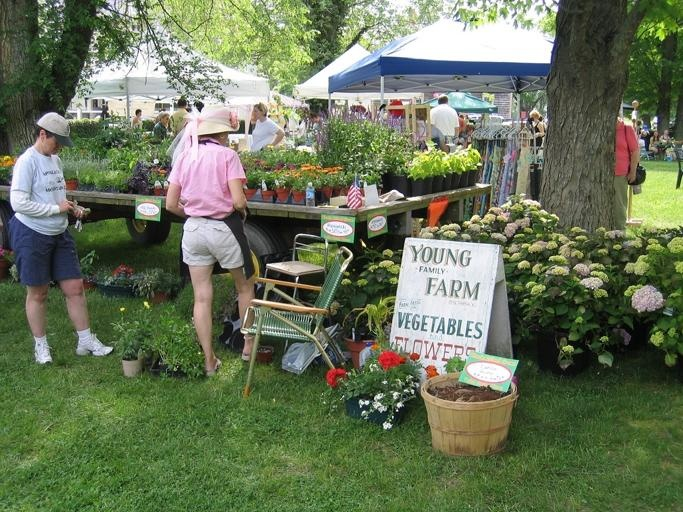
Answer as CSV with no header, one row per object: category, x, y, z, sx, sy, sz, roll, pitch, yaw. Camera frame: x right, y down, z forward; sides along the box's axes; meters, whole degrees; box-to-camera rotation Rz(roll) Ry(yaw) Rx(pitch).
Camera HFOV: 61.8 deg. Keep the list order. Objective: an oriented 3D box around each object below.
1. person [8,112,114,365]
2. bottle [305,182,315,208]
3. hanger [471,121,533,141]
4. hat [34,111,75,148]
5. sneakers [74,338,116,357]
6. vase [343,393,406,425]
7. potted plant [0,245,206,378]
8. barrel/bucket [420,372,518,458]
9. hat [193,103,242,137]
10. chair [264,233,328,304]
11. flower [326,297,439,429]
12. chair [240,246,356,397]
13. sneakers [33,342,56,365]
person,-2.651,-0.154,5.262,0.718,2.260,0.462,-3,11,-33
bottle,-0.311,-0.604,5.674,0.099,0.237,0.189,2,9,-5
hanger,2.955,-2.265,10.513,0.581,0.257,0.791,-16,16,-40
hat,-2.587,-1.138,5.152,0.272,0.298,0.307,-1,10,-20
sneakers,-2.372,0.874,5.459,0.323,0.184,0.164,1,7,-7
vase,0.250,1.138,4.345,0.307,0.119,0.211,0,0,28
potted plant,-2.437,0.603,5.750,1.387,0.529,1.094,0,7,12
barrel/bucket,0.867,1.055,3.948,0.481,0.329,0.523,-2,8,0
hat,-1.065,-1.157,4.973,0.296,0.170,0.309,10,21,34
chair,-0.432,0.192,5.426,0.590,0.789,0.598,3,8,-3
flower,0.308,0.764,4.507,0.649,0.657,0.819,4,12,24
chair,-0.403,0.534,4.972,0.951,1.178,0.933,5,12,10
sneakers,-2.776,0.906,5.296,0.106,0.143,0.289,-6,9,-45
